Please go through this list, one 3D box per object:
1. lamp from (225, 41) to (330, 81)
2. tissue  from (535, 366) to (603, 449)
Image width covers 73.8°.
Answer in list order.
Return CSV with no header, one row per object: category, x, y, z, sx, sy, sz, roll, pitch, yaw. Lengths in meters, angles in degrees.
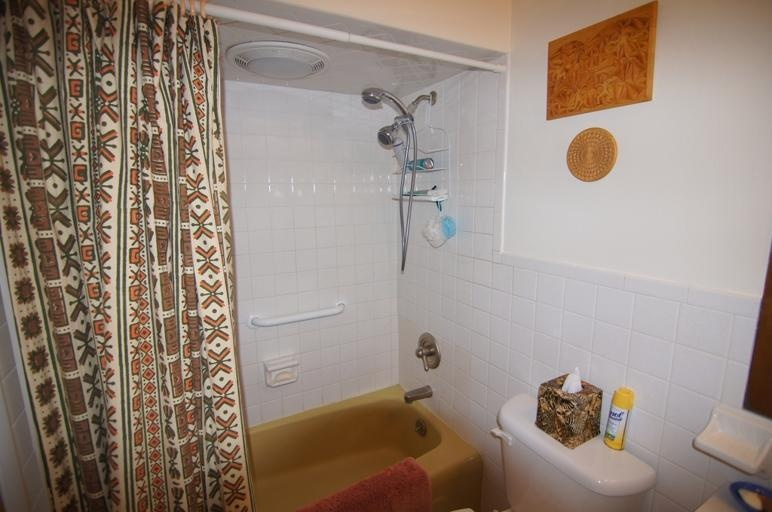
lamp,-0.496,-0.900,2.365,0.458,0.099,0.340,-4,11,-8
tissue ,0.762,0.625,2.124,0.236,0.226,0.193,-11,14,-36
